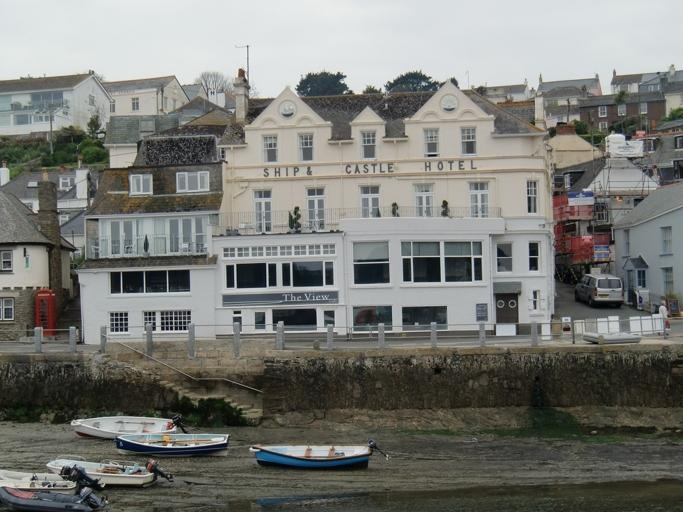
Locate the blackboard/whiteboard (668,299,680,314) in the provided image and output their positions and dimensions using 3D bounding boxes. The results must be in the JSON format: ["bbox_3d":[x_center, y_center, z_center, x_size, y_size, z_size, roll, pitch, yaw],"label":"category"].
[{"bbox_3d":[24.310,3.875,131.800,0.958,1.707,0.220,-1,-8,-1],"label":"blackboard/whiteboard"}]

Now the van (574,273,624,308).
[{"bbox_3d":[19.348,2.592,135.750,1.875,1.551,3.433,1,4,-7],"label":"van"}]
